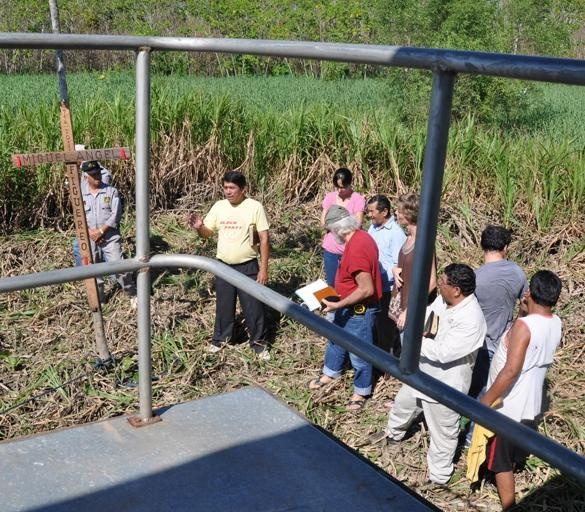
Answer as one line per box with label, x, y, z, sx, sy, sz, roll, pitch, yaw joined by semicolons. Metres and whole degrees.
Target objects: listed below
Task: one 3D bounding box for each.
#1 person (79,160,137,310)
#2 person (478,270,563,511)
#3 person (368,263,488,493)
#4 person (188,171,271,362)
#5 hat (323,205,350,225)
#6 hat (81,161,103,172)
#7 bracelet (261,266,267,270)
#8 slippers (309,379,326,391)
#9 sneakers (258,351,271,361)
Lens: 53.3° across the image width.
person;-2.119;-0.230;6.738;0.576;1.686;0.598;-1;8;-17
person;1.514;0.957;3.934;0.448;1.744;0.601;4;8;23
person;1.080;0.898;4.441;0.632;1.765;0.701;3;7;9
person;-0.610;0.094;6.145;0.765;1.948;0.582;1;7;-3
hat;0.380;-0.351;5.012;0.208;0.174;0.203;2;7;4
hat;-2.242;-0.989;6.484;0.199;0.123;0.361;-1;7;-21
bracelet;-0.298;0.119;5.922;0.031;0.039;0.041;-16;28;-36
slippers;0.234;1.240;5.711;0.083;0.037;0.148;9;21;23
sneakers;-0.303;1.052;6.139;0.098;0.035;0.119;-8;36;3
